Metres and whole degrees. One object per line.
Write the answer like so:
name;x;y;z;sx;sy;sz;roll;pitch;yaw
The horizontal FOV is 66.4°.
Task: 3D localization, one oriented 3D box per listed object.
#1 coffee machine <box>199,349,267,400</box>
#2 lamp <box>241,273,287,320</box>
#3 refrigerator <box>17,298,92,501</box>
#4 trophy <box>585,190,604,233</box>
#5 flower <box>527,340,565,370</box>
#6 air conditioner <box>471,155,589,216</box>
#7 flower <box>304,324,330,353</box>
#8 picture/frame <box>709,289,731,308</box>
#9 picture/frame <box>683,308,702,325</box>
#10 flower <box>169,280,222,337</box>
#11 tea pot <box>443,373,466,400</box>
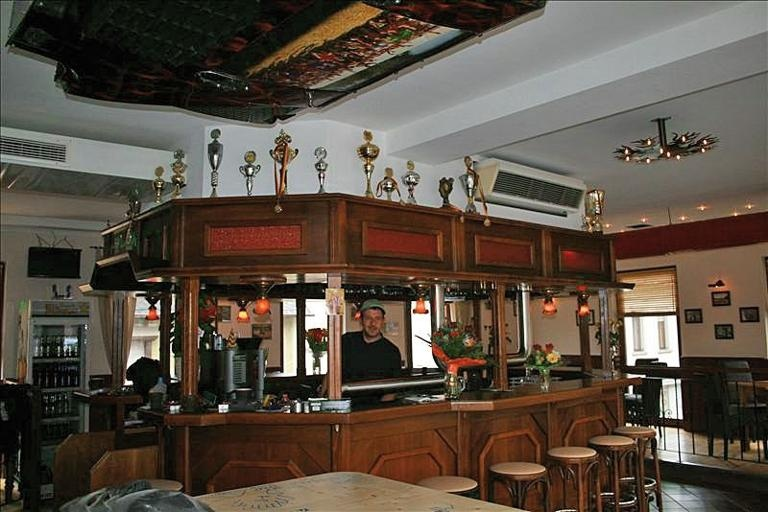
coffee machine;-1.444;1.084;5.539;0.408;0.433;0.599;7;-4;-35
lamp;-1.181;0.310;5.717;0.584;0.584;0.269;3;-3;-21
refrigerator;-4.819;2.085;9.486;1.037;2.680;1.074;3;2;6
trophy;2.957;-0.659;8.277;0.255;0.775;0.484;-4;-16;18
flower;1.815;1.123;6.614;0.491;0.339;0.454;3;-7;-33
air conditioner;2.209;-1.037;8.828;2.222;0.518;0.533;5;-5;-42
flower;-0.662;0.835;5.823;0.190;0.260;0.308;2;-14;-2
picture/frame;5.662;0.694;9.875;0.043;0.263;0.345;-11;10;-29
picture/frame;5.462;1.059;10.387;0.027;0.218;0.352;19;-16;-37
flower;-1.766;0.599;6.218;0.384;0.692;0.782;4;-2;-35
tea pot;0.763;1.267;5.766;0.354;0.273;0.191;1;-5;6
